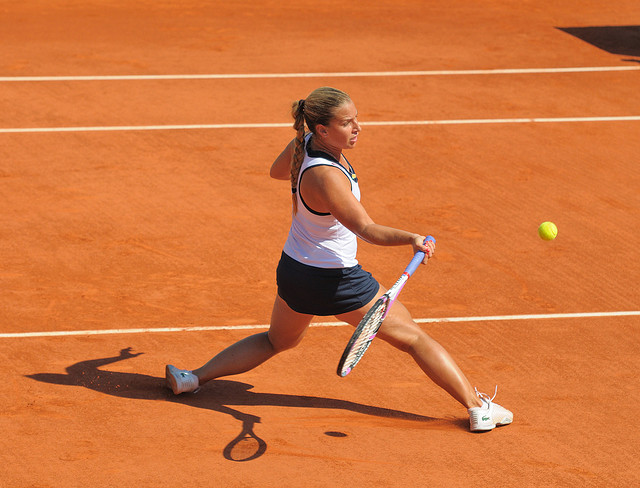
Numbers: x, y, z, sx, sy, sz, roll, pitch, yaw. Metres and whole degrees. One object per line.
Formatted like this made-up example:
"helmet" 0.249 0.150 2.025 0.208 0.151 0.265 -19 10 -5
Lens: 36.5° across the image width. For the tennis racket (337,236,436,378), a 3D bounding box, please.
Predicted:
"tennis racket" 0.606 0.647 8.947 0.122 0.406 1.872 32 38 16
